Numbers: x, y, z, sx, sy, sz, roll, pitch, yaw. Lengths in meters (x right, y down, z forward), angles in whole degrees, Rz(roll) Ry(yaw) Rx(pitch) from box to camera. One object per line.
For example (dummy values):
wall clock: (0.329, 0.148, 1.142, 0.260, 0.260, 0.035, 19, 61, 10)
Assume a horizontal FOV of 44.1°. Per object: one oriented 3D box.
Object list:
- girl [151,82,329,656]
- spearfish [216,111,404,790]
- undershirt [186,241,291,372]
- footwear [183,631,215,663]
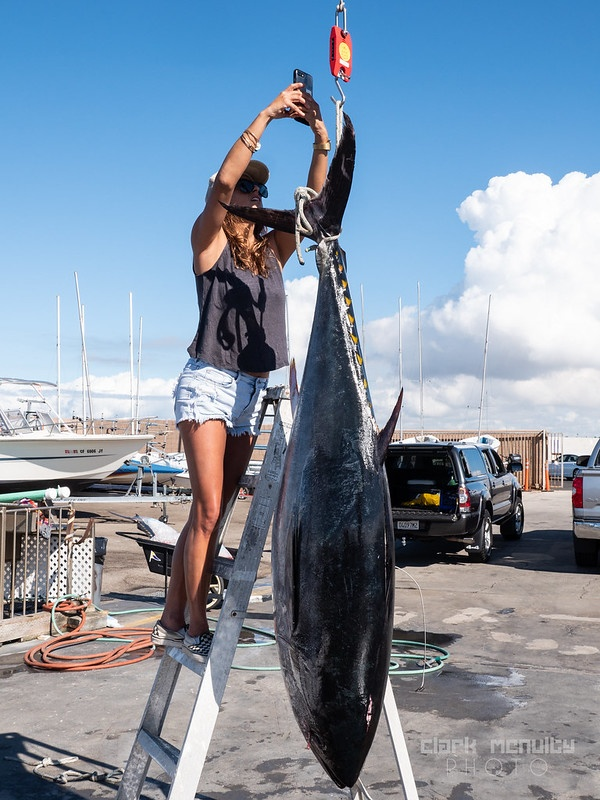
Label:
girl: (-0.228, -0.092, 2.526, 0.406, 1.887, 0.535, 3, 0, -24)
spearfish: (0.085, 0.107, 1.882, 0.267, 1.671, 0.300, 0, -1, -22)
undershirt: (-0.246, -0.281, 2.564, 0.301, 0.563, 0.303, -4, 16, -36)
footwear: (-0.322, 0.765, 2.313, 0.066, 0.059, 0.134, 9, -6, -38)
